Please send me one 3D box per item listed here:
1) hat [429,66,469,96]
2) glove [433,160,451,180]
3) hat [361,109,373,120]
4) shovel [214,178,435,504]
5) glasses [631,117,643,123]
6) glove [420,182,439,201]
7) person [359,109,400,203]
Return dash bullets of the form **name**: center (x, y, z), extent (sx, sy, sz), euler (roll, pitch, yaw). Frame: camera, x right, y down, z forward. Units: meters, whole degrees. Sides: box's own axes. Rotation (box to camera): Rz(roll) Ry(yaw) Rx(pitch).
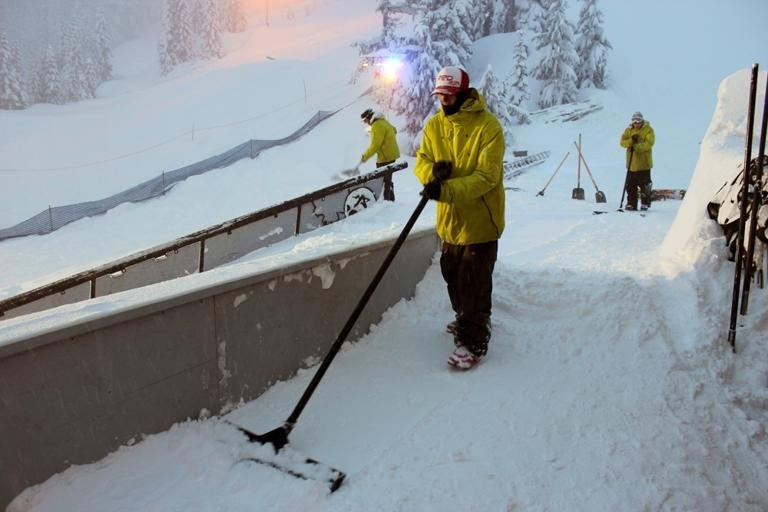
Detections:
- **hat**: center (0.664, -1.686, 5.907), extent (0.354, 0.204, 0.237), euler (-22, 38, -33)
- **glove**: center (0.576, -0.834, 5.918), extent (0.129, 0.087, 0.192), euler (3, 43, 7)
- **hat**: center (-0.311, -2.675, 11.487), extent (0.162, 0.217, 0.173), euler (29, 29, -26)
- **shovel**: center (-0.539, 1.127, 5.453), extent (1.657, 1.476, 1.060), euler (-12, 25, -19)
- **glasses**: center (4.736, -2.547, 11.360), extent (0.214, 0.079, 0.151), euler (-7, 25, -7)
- **glove**: center (0.435, -0.600, 5.683), extent (0.150, 0.167, 0.132), euler (4, 2, 18)
- **person**: center (-0.026, -1.935, 11.538), extent (0.614, 1.732, 0.742), euler (3, 21, 26)
